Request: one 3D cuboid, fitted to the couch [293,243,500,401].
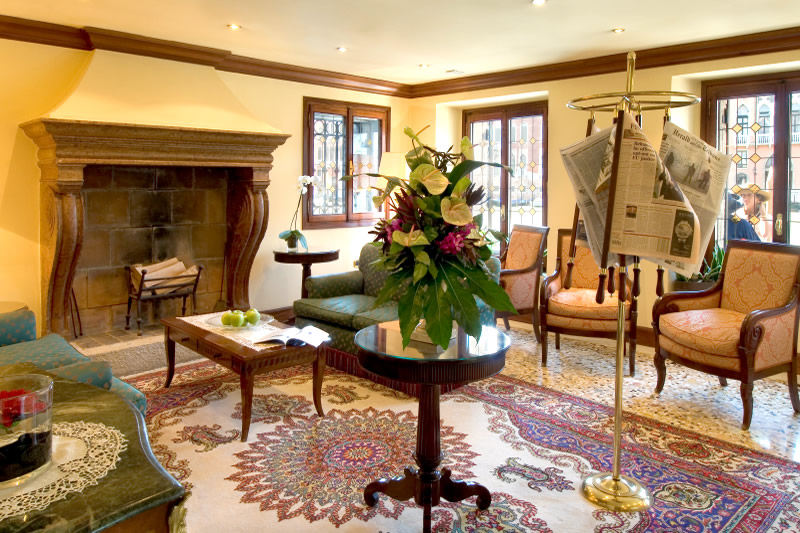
[{"bbox_3d":[-0.045,0.402,5.573,2.045,1.273,1.180,5,8,39],"label":"couch"}]

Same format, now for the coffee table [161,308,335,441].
[{"bbox_3d":[-1.384,0.832,4.764,1.385,0.614,0.830,11,12,43],"label":"coffee table"}]

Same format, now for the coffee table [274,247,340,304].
[{"bbox_3d":[-1.178,0.114,6.924,0.679,0.708,0.643,0,-1,-23],"label":"coffee table"}]

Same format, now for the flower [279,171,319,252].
[{"bbox_3d":[-1.338,-0.705,7.198,0.472,0.935,0.992,-2,9,-10],"label":"flower"}]

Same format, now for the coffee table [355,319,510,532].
[{"bbox_3d":[0.167,0.931,3.629,1.134,1.297,1.138,0,0,-3],"label":"coffee table"}]

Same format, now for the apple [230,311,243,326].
[{"bbox_3d":[-1.372,0.443,4.637,0.102,0.121,0.105,-2,5,-28],"label":"apple"}]

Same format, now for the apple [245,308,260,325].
[{"bbox_3d":[-1.281,0.438,4.782,0.120,0.125,0.117,1,-2,-41],"label":"apple"}]

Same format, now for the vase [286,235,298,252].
[{"bbox_3d":[-1.339,-0.272,6.823,0.166,0.268,0.170,-3,6,-31],"label":"vase"}]

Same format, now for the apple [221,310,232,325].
[{"bbox_3d":[-1.501,0.446,4.727,0.108,0.119,0.103,5,0,3],"label":"apple"}]

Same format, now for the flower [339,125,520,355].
[{"bbox_3d":[0.221,-0.163,3.179,0.824,1.296,0.631,0,9,7],"label":"flower"}]
